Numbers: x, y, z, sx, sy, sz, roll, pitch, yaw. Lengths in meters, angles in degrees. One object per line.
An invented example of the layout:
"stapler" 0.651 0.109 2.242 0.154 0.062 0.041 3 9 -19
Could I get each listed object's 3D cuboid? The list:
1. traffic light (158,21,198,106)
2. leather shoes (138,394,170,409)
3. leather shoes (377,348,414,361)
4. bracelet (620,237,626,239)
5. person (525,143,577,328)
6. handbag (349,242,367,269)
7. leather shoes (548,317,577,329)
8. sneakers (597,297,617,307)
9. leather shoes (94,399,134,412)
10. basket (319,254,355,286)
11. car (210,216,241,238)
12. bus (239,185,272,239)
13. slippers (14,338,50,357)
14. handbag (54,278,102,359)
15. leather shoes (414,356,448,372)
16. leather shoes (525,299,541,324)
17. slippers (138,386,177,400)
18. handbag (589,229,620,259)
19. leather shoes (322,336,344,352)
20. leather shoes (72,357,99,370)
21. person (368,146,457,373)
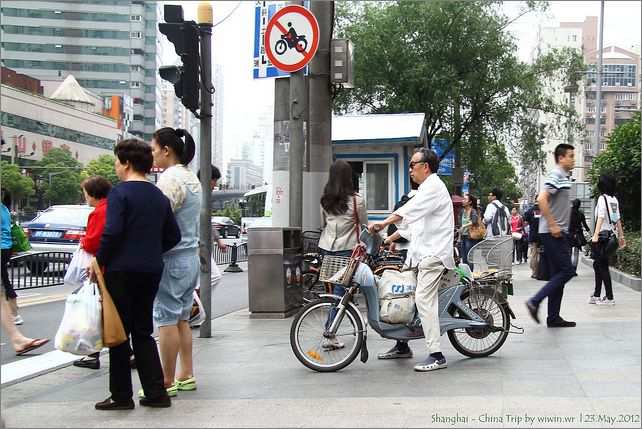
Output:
"traffic light" -2.067 -2.173 8.629 0.564 1.300 0.344 -3 4 -16
"leather shoes" -1.765 1.982 6.274 0.336 0.138 0.132 3 -1 11
"leather shoes" 0.986 1.834 7.729 0.454 0.170 0.164 2 -5 -3
"bracelet" 5.787 0.453 11.267 0.107 0.033 0.104 -1 1 0
"person" 3.439 0.325 8.677 0.597 2.770 1.170 0 4 32
"handbag" 0.470 0.514 7.330 0.199 0.276 0.090 7 -19 46
"leather shoes" 3.603 1.646 8.892 0.481 0.193 0.158 -2 0 2
"sneakers" 5.114 1.571 10.508 0.318 0.152 0.138 1 2 28
"leather shoes" -2.167 2.016 6.226 0.392 0.141 0.151 3 -4 0
"basket" 0.172 0.704 7.365 0.368 0.353 0.114 11 -10 28
"car" -5.970 0.805 37.249 1.630 1.196 3.817 -1 1 11
"bus" -3.230 -0.391 29.736 2.155 2.530 5.688 0 -4 -8
"slippers" -4.108 1.893 8.313 0.338 0.088 0.132 -27 -7 3
"handbag" -2.530 1.103 6.145 0.524 0.803 0.184 -1 4 10
"leather shoes" 1.339 1.809 7.124 0.379 0.141 0.158 0 -4 -19
"leather shoes" 3.041 1.356 8.429 0.174 0.403 0.139 -22 3 -2
"slippers" -1.809 1.969 6.511 0.430 0.180 0.163 1 0 37
"handbag" 5.002 0.557 10.319 0.446 0.525 0.355 -1 4 19
"leather shoes" 0.142 1.615 7.283 0.332 0.221 0.113 -4 11 -11
"leather shoes" -3.082 1.974 7.723 0.315 0.128 0.141 6 -1 21
"person" 1.290 0.522 7.279 0.657 2.703 0.811 0 4 25
